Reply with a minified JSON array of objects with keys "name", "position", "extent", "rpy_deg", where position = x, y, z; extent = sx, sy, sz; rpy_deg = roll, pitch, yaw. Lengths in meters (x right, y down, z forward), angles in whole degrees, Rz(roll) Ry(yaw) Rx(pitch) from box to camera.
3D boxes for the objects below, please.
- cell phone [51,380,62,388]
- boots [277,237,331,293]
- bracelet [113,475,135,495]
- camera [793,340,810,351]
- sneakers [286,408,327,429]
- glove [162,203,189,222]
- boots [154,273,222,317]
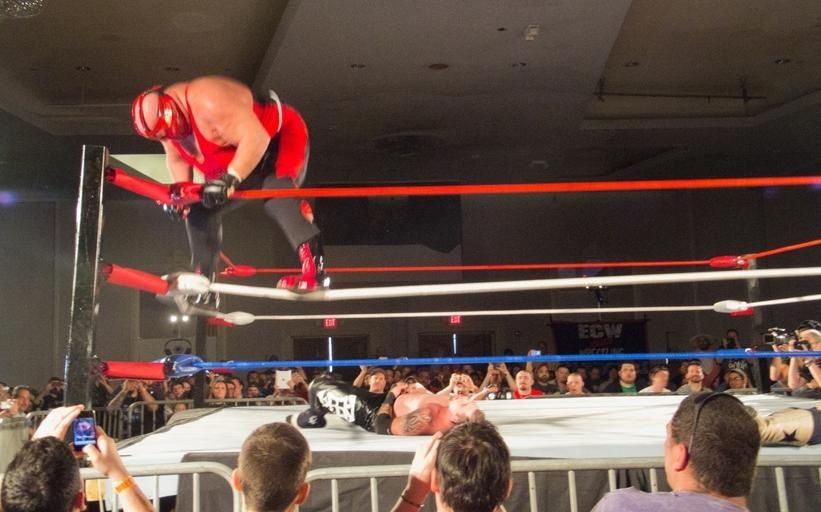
[{"name":"cell phone","position":[-5.009,1.821,11.987],"extent":[0.150,0.117,0.096],"rpy_deg":[-18,-15,-16]},{"name":"boots","position":[-1.113,0.090,8.185],"extent":[0.659,0.474,0.275],"rpy_deg":[1,5,-28]},{"name":"bracelet","position":[-2.313,1.857,6.879],"extent":[0.166,0.087,0.146],"rpy_deg":[-23,-3,-9]},{"name":"camera","position":[4.087,0.929,8.810],"extent":[0.142,0.072,0.126],"rpy_deg":[-3,-3,21]},{"name":"sneakers","position":[-1.001,1.622,8.423],"extent":[0.478,0.152,0.169],"rpy_deg":[-1,-8,36]},{"name":"glove","position":[-2.219,-0.425,7.953],"extent":[0.255,0.132,0.211],"rpy_deg":[-2,-3,25]},{"name":"boots","position":[-2.103,0.330,7.924],"extent":[0.559,0.200,0.492],"rpy_deg":[5,-24,27]}]
